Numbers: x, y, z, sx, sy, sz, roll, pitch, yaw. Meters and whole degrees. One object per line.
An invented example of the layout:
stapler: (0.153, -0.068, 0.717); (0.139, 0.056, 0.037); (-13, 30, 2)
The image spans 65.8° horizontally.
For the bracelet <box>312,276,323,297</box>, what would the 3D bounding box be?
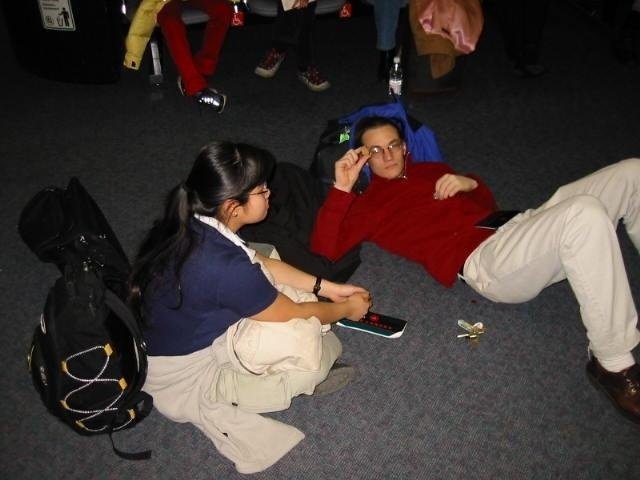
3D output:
bracelet: (-0.020, 0.231, 2.314); (0.023, 0.072, 0.055); (5, 6, -11)

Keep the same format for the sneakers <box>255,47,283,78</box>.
sneakers: (-0.393, -1.487, 4.066); (0.131, 0.128, 0.329); (26, 50, 10)

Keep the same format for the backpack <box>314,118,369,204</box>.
backpack: (0.101, -0.499, 3.114); (0.381, 0.476, 0.162); (10, 1, 21)

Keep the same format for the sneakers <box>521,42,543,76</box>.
sneakers: (1.697, -1.457, 3.978); (0.157, 0.274, 0.164); (11, 56, 16)

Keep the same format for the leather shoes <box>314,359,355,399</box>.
leather shoes: (0.049, 0.627, 2.272); (0.178, 0.177, 0.108); (-31, 94, -20)

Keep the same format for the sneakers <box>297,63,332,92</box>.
sneakers: (-0.051, -1.288, 3.997); (0.311, 0.143, 0.143); (33, 64, 23)

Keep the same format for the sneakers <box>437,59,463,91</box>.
sneakers: (1.071, -1.335, 3.985); (0.185, 0.109, 0.454); (15, 42, 14)

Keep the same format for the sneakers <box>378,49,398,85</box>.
sneakers: (0.512, -1.371, 3.875); (0.119, 0.259, 0.266); (-3, 80, -3)
